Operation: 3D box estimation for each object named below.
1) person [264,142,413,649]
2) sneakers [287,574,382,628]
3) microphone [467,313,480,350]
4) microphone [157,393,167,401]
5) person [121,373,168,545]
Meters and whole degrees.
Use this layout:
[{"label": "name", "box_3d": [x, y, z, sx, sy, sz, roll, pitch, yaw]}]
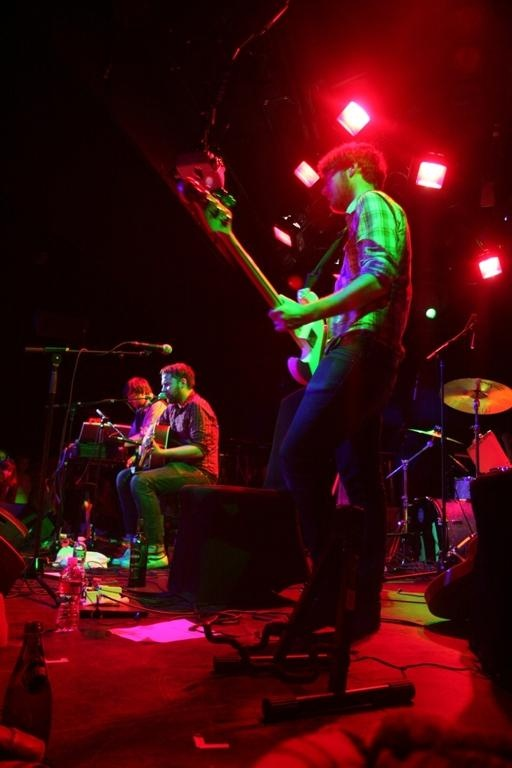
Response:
[{"label": "person", "box_3d": [0.293, -0.112, 2.215, 0.477, 1.947, 0.702, 4, -14, 14]}, {"label": "sneakers", "box_3d": [0.290, 0.731, 2.029, 0.243, 0.223, 0.469, 5, -14, 12]}, {"label": "microphone", "box_3d": [2.432, -0.610, 6.822, 0.197, 0.535, 0.113, 4, -5, -44]}, {"label": "microphone", "box_3d": [-0.816, 0.105, 5.324, 0.079, 0.026, 0.109, 18, -13, -27]}, {"label": "person", "box_3d": [-0.971, 0.670, 5.801, 0.222, 1.597, 0.623, 15, -20, -24]}]
